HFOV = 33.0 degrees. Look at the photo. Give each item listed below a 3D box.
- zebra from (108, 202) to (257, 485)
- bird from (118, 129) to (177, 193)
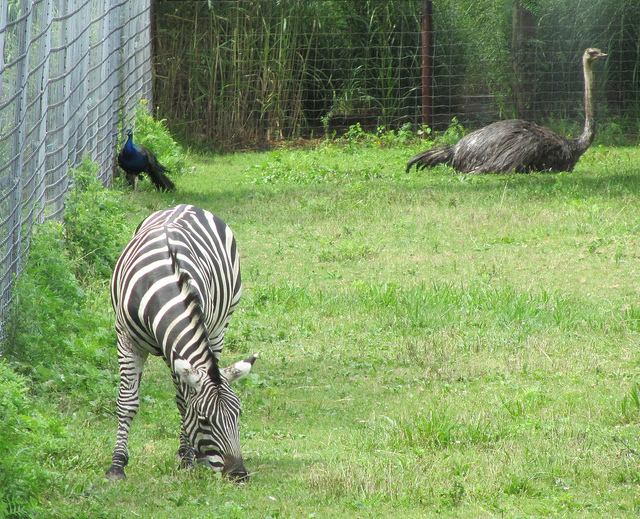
[{"bbox_3d":[-0.857,0.488,8.178,1.206,1.924,2.181,4,10,24],"label":"zebra"},{"bbox_3d":[-2.420,-1.417,14.919,0.339,1.022,1.092,6,13,22],"label":"bird"}]
